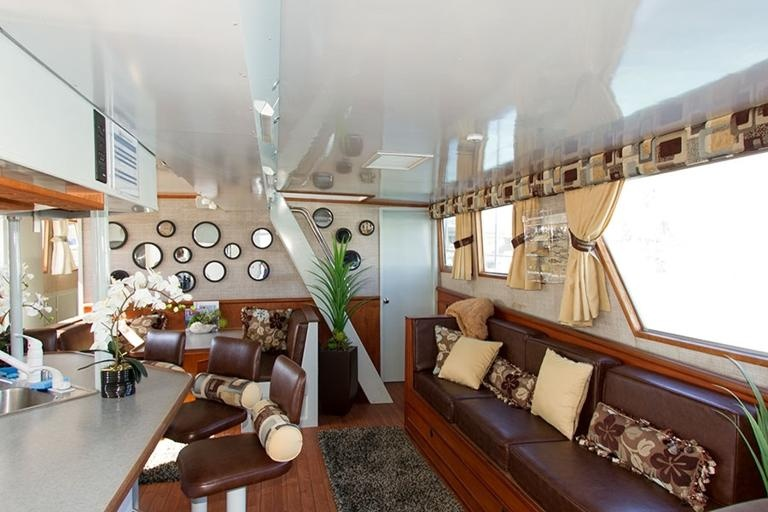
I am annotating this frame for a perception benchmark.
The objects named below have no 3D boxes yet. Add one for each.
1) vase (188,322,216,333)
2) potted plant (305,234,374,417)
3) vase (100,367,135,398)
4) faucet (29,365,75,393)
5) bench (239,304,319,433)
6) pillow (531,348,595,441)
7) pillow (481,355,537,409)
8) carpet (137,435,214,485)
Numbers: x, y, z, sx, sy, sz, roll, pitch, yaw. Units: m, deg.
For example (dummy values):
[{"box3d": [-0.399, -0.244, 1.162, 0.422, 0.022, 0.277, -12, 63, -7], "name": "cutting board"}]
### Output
[{"box3d": [-2.331, 0.914, 6.310, 0.204, 0.082, 0.154, 5, -2, -16], "name": "vase"}, {"box3d": [-0.564, 0.757, 5.922, 0.770, 1.946, 1.253, 6, 11, -16], "name": "potted plant"}, {"box3d": [-1.636, 0.770, 3.070, 0.187, 0.180, 0.176, -1, 3, -17], "name": "vase"}, {"box3d": [-2.100, 0.775, 3.120, 0.211, 0.112, 0.153, 2, 0, 1], "name": "faucet"}, {"box3d": [-1.133, 1.132, 5.623, 1.020, 1.353, 1.350, 2, -6, -10], "name": "bench"}, {"box3d": [1.352, 0.921, 4.022, 0.417, 0.876, 0.784, 13, 1, 15], "name": "pillow"}, {"box3d": [1.044, 1.079, 4.234, 0.110, 0.251, 0.543, 26, -3, -13], "name": "pillow"}, {"box3d": [-1.746, 1.820, 4.383, 0.738, 0.206, 0.728, 3, -3, -13], "name": "carpet"}]
